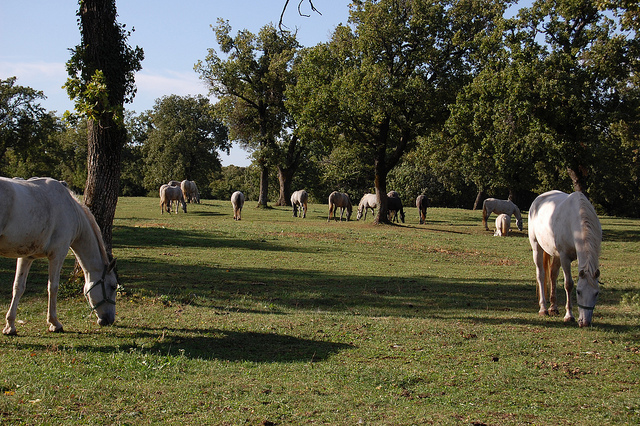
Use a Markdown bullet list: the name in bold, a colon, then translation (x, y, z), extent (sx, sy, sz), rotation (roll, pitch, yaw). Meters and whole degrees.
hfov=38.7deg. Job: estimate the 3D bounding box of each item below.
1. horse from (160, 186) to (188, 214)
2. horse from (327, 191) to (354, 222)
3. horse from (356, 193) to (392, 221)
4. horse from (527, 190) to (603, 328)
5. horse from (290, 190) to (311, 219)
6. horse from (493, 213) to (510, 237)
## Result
- **horse**: translation (-11.439, -1.062, 71.252), extent (0.947, 2.228, 3.571), rotation (0, 0, 24)
- **horse**: translation (1.608, -0.605, 74.864), extent (1.088, 2.632, 4.299), rotation (-3, -3, 25)
- **horse**: translation (4.422, -0.490, 74.774), extent (1.087, 2.036, 3.804), rotation (4, -10, -40)
- **horse**: translation (10.810, 2.009, 40.225), extent (1.377, 5.737, 3.231), rotation (1, 0, -27)
- **horse**: translation (-1.771, -0.799, 76.804), extent (0.977, 2.426, 3.795), rotation (5, -7, -20)
- **horse**: translation (12.665, 0.862, 63.405), extent (0.996, 1.525, 2.131), rotation (1, 0, 10)
